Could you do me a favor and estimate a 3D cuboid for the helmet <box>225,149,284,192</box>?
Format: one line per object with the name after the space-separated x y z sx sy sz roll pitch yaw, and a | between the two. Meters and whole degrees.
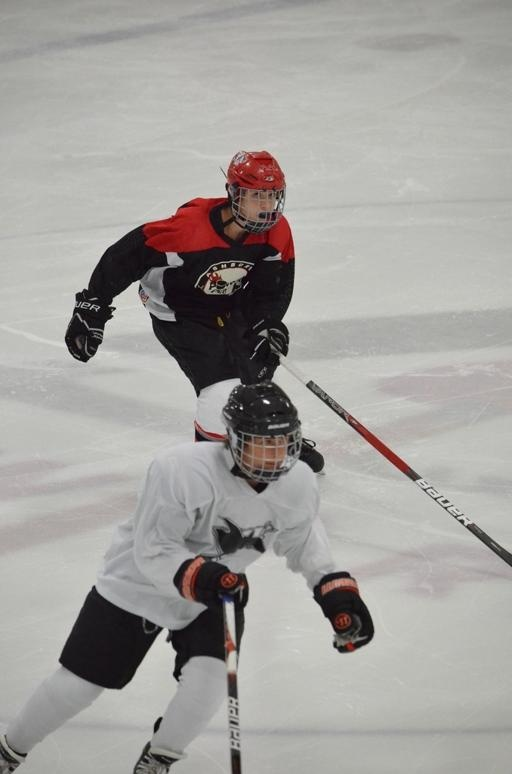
-0.001 -0.701 2.680 0.157 0.154 0.177 2 -12 -21 | helmet

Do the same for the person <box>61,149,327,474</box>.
-0.184 -0.255 2.882 1.011 1.132 0.682 8 28 10 | person

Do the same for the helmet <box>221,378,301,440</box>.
0.005 0.064 1.916 0.134 0.125 0.163 -5 1 -35 | helmet

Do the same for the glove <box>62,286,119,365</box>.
-0.595 -0.217 2.839 0.165 0.259 0.128 20 -5 17 | glove

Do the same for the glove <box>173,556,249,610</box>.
-0.102 0.426 1.775 0.166 0.090 0.067 11 44 32 | glove

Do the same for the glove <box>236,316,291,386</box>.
0.014 -0.130 2.860 0.239 0.199 0.090 -37 4 -1 | glove
